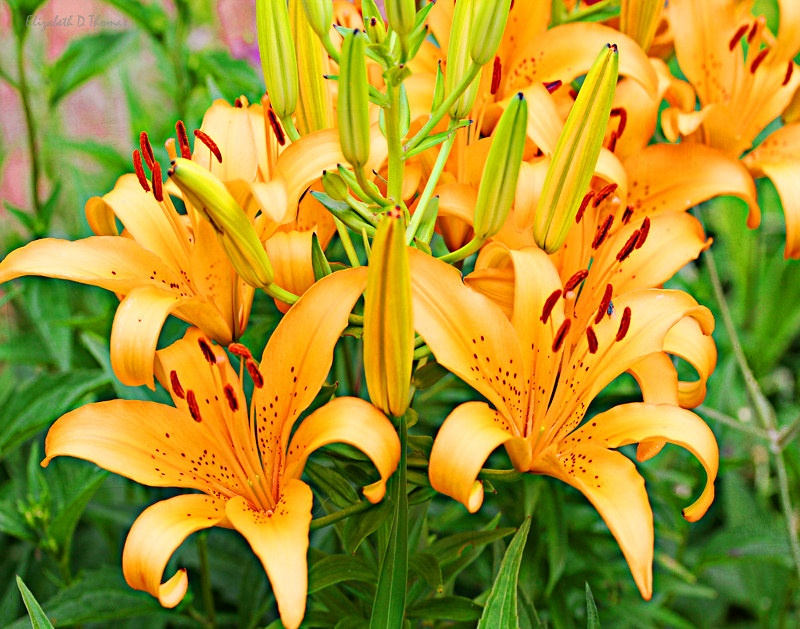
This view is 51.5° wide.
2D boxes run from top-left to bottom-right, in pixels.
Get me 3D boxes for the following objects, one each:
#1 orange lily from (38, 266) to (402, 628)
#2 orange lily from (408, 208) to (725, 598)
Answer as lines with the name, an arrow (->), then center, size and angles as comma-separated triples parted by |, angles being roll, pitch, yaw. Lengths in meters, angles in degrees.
orange lily -> -0.202, 0.115, 0.944 | 0.409, 0.291, 0.293 | 17, 35, 24
orange lily -> 0.195, 0.071, 0.967 | 0.364, 0.276, 0.362 | 14, 35, 20
